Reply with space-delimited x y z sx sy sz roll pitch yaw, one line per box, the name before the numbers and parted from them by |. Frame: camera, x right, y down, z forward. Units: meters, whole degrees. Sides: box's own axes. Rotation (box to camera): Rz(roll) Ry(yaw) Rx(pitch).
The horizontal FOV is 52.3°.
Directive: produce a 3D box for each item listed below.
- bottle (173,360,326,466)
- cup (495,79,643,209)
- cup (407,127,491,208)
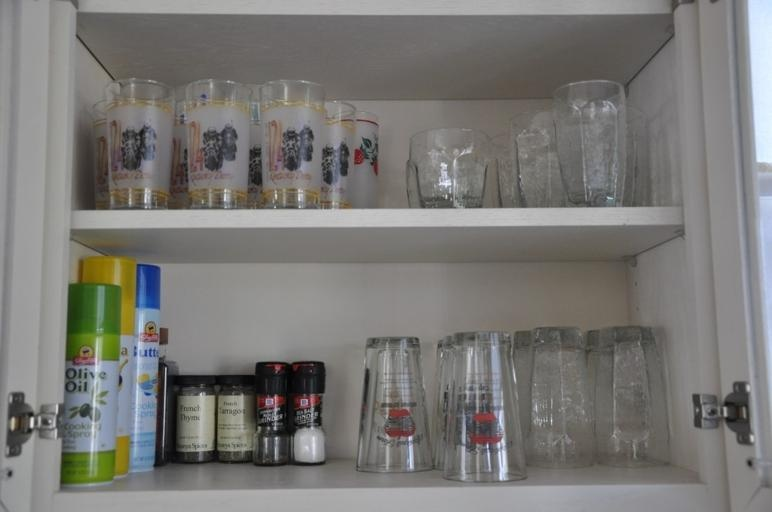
bottle | -0.239 0.283 1.443 0.219 0.186 0.207 -1 -5 13
cup | 0.317 -0.200 1.479 0.261 0.203 0.209 2 -8 -2
cup | 0.107 -0.162 1.471 0.148 0.138 0.136 0 -2 0
